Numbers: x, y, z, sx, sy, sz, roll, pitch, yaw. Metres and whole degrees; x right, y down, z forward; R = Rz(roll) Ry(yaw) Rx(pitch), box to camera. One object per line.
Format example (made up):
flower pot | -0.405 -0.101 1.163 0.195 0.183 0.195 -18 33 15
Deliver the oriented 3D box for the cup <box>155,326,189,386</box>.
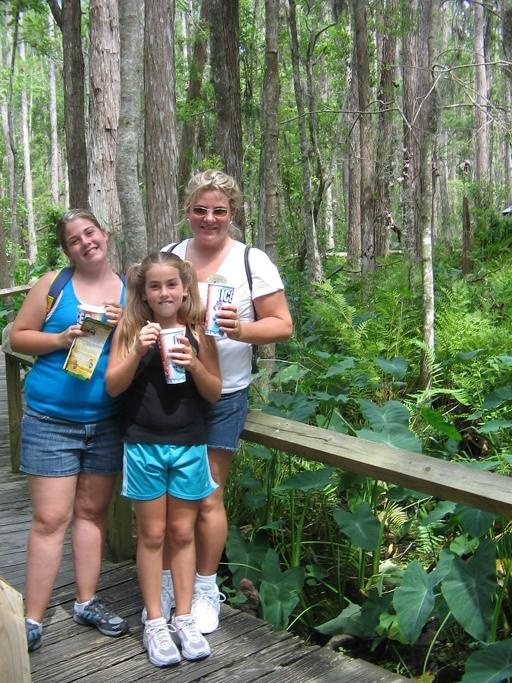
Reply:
cup | -0.297 0.056 1.946 0.091 0.169 0.152 1 0 -7

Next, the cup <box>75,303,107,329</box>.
cup | -0.585 -0.093 1.939 0.082 0.060 0.082 16 4 -1

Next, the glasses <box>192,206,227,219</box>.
glasses | -0.180 -0.498 2.103 0.129 0.032 0.030 1 0 -1

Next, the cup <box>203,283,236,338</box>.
cup | -0.140 -0.116 2.012 0.098 0.153 0.194 1 0 -15
